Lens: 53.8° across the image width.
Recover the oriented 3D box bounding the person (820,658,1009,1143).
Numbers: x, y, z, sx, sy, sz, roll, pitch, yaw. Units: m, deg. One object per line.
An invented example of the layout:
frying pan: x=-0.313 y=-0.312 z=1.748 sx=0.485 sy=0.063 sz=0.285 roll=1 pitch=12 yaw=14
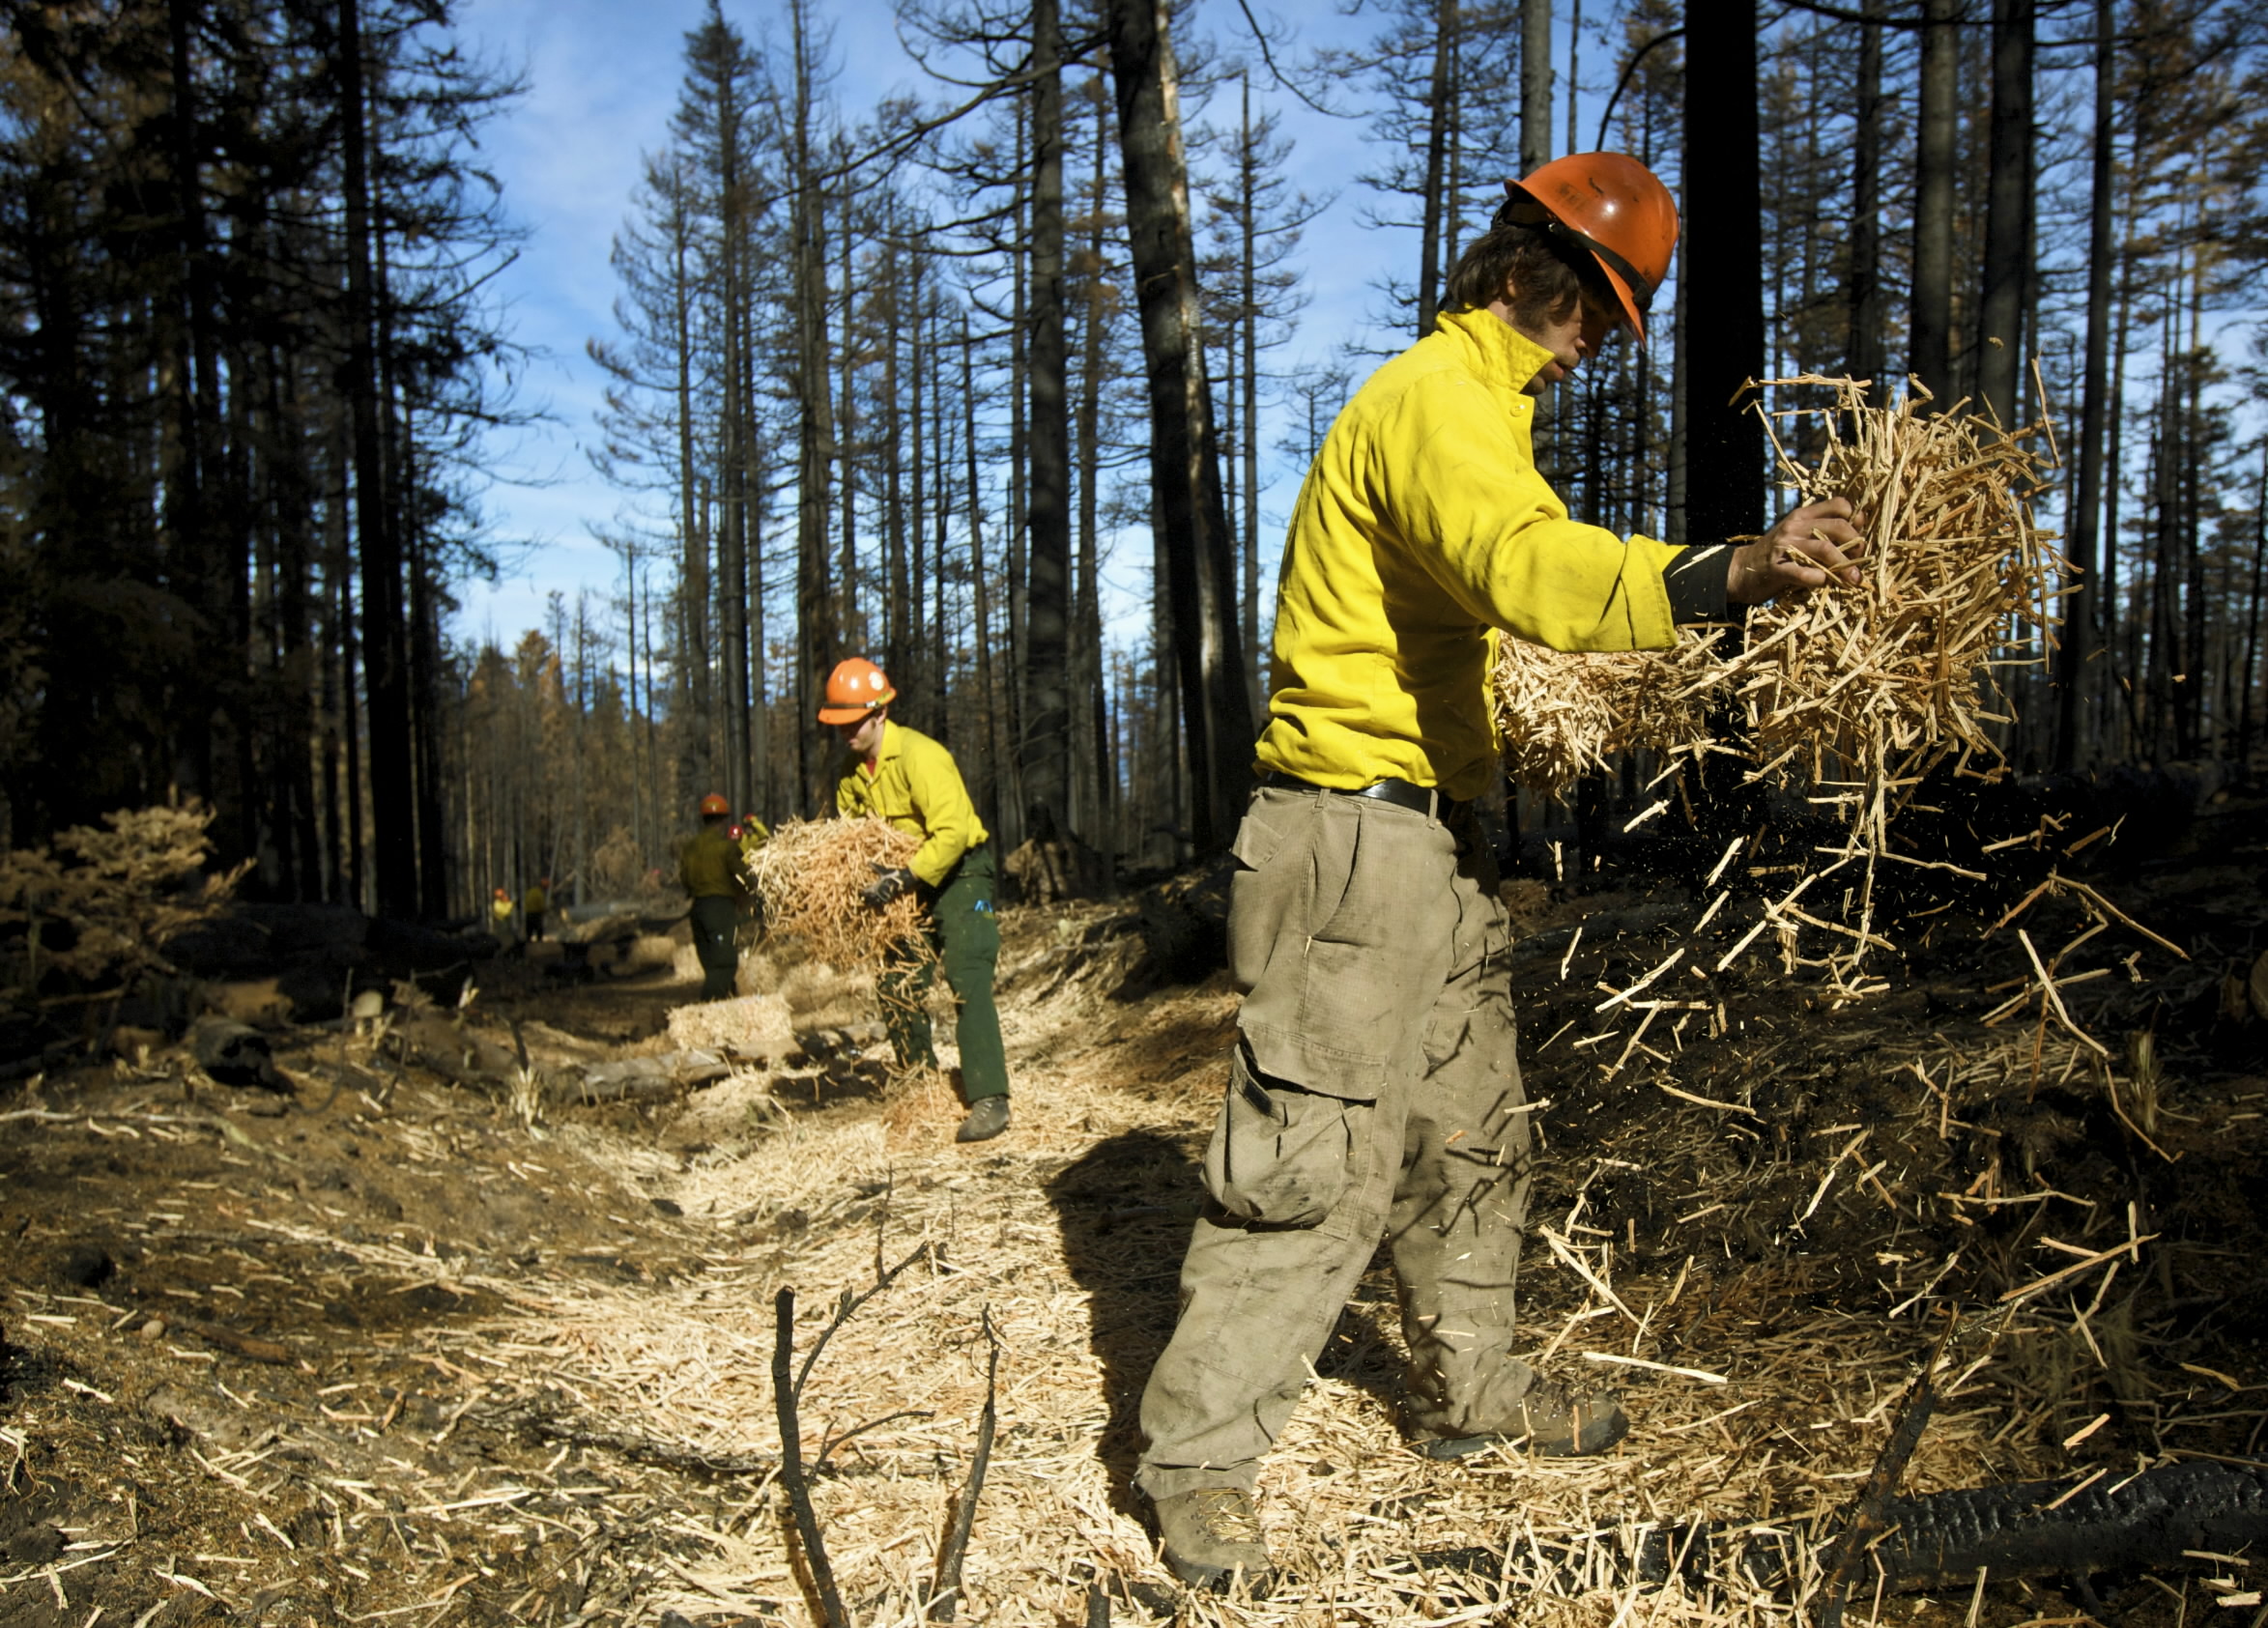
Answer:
person: x=-1.251 y=0.454 z=13.530 sx=0.760 sy=2.768 sz=1.489 roll=-5 pitch=7 yaw=-37

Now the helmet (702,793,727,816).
helmet: x=-3.740 y=-0.094 z=19.920 sx=0.225 sy=0.133 sz=0.286 roll=0 pitch=-3 yaw=-16

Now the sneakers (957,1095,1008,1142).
sneakers: x=-0.885 y=1.786 z=13.102 sx=0.338 sy=0.211 sz=0.282 roll=-2 pitch=5 yaw=-12
